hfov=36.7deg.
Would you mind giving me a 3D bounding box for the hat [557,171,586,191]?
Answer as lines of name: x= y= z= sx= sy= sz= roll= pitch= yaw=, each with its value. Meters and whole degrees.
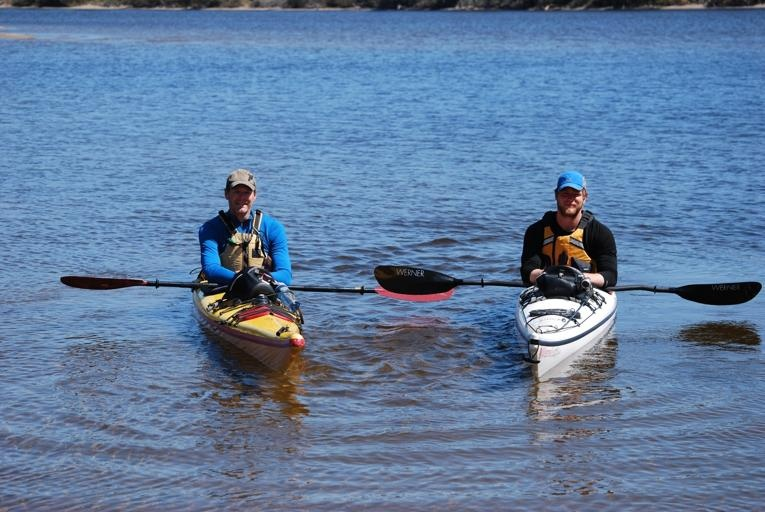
hat: x=3.527 y=-1.415 z=21.684 sx=0.505 sy=0.348 sz=0.439 roll=6 pitch=24 yaw=10
